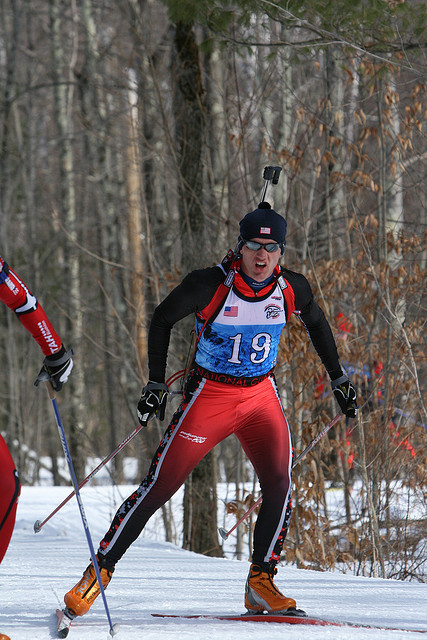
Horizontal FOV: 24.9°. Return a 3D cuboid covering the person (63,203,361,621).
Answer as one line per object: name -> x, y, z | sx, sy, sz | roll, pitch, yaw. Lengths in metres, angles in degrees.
person -> 0.024, 0.439, 4.938 | 1.387, 2.098, 0.612 | 2, -2, -8

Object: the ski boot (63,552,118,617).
ski boot -> -0.591, 1.291, 4.646 | 0.168, 0.312, 0.239 | 1, -2, 22

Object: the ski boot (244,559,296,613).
ski boot -> 0.295, 1.336, 4.817 | 0.313, 0.289, 0.112 | -12, -24, 41

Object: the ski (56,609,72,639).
ski -> -0.690, 1.427, 4.523 | 0.039, 0.129, 0.053 | 18, -42, -35
